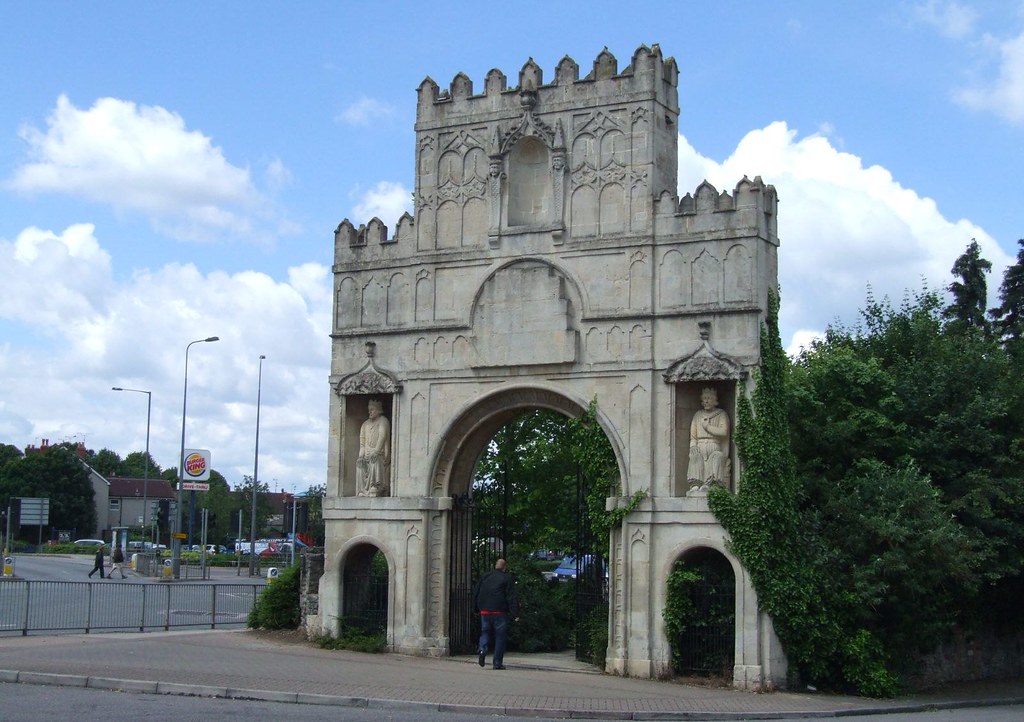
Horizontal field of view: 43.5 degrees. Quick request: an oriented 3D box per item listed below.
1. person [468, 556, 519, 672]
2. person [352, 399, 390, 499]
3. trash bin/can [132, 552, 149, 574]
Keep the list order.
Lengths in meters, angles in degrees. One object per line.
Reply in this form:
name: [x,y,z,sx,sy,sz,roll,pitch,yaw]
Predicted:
person: [-0.361,6.098,31.117,0.928,2.599,0.837,0,-12,3]
person: [-3.693,2.329,34.798,0.902,2.752,0.548,-9,-15,38]
trash bin/can: [-20.101,11.013,70.146,0.618,1.171,1.856,10,-16,-38]
